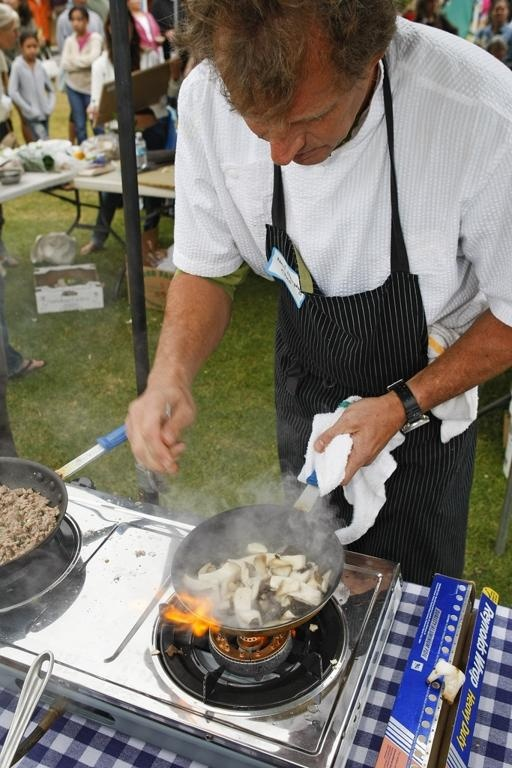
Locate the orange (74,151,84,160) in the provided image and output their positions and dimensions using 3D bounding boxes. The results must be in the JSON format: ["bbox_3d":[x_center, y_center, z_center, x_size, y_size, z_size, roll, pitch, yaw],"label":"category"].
[{"bbox_3d":[-1.517,-1.966,5.809,0.089,0.065,0.156,-8,31,-11],"label":"orange"}]

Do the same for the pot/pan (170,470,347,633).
[{"bbox_3d":[0.032,0.352,1.325,0.304,0.209,0.453,-7,19,-25],"label":"pot/pan"}]

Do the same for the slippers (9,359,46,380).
[{"bbox_3d":[-1.633,-0.123,4.824,0.091,0.068,0.252,33,34,15],"label":"slippers"}]
